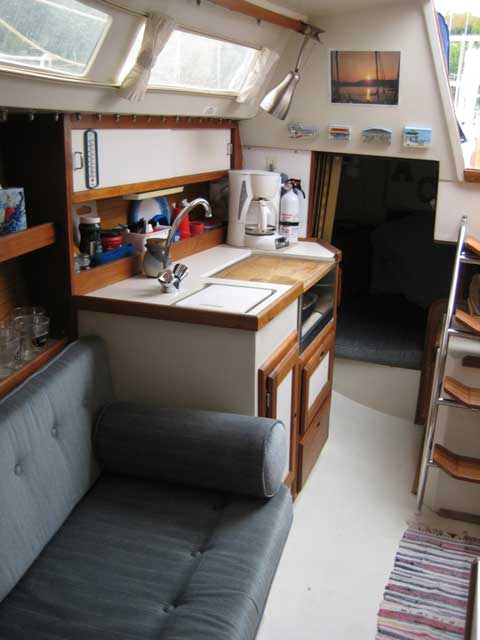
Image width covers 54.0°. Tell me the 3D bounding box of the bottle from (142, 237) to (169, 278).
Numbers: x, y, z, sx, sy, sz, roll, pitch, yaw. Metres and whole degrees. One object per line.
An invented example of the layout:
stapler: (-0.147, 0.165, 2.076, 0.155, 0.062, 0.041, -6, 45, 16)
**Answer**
bottle: (-0.337, -0.258, 1.878, 0.092, 0.160, 0.104, 12, 13, 21)

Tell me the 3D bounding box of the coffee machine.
coffee machine: (0.087, -0.606, 2.558, 0.285, 0.407, 0.322, -9, 16, -39)

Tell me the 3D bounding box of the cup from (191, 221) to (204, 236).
cup: (-0.217, -0.486, 2.438, 0.058, 0.076, 0.074, 2, 29, -5)

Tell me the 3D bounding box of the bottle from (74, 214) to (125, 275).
bottle: (-0.474, -0.293, 1.773, 0.216, 0.250, 0.134, 5, 18, 8)

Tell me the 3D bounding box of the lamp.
lamp: (0.276, -1.315, 2.519, 0.289, 0.500, 0.392, 2, 7, 9)

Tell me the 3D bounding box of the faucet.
faucet: (-0.248, -0.334, 2.064, 0.256, 0.520, 0.333, 3, 26, 2)
